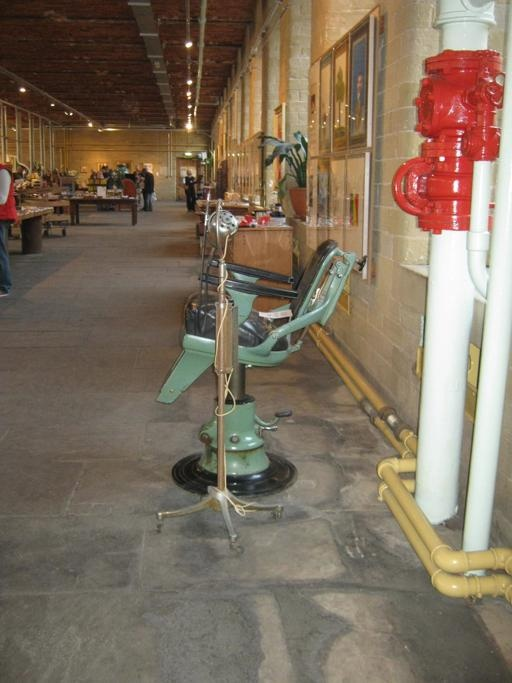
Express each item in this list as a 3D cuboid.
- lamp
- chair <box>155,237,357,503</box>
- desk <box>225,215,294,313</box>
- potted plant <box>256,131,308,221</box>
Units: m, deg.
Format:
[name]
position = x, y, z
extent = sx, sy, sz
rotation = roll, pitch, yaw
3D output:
[lamp]
position = -0.093, 0.084, 1.890
extent = 0.414, 1.107, 0.466
rotation = 5, 8, 22
[chair]
position = -0.025, 0.007, 2.687
extent = 1.092, 1.343, 0.885
rotation = 0, 11, -4
[desk]
position = 0.060, -0.877, 6.048
extent = 0.719, 1.066, 0.705
rotation = -20, 35, -23
[potted plant]
position = 0.539, -2.067, 6.859
extent = 0.707, 0.955, 0.873
rotation = -15, 12, -30
